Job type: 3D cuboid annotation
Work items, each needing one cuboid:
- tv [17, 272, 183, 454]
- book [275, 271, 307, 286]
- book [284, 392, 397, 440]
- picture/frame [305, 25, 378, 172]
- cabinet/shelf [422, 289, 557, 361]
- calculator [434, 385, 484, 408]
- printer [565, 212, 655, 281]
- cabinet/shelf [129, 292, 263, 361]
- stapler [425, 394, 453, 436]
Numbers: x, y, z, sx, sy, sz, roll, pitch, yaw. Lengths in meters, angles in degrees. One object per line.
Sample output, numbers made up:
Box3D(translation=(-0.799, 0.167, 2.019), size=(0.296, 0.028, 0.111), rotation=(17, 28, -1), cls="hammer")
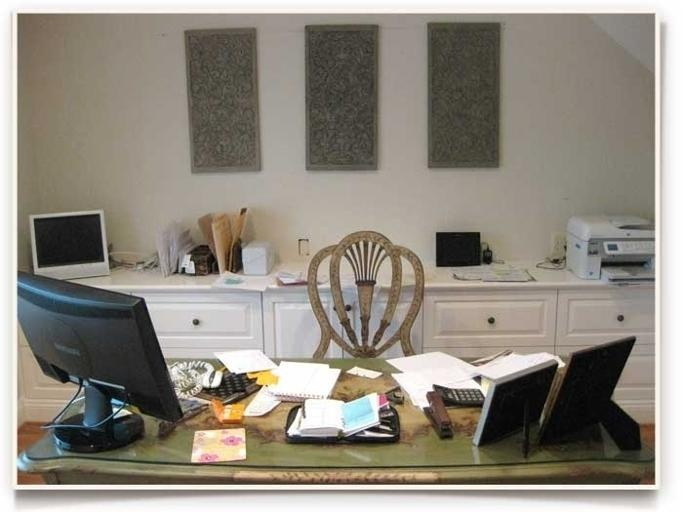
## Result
Box3D(translation=(-0.862, 0.362, 2.077), size=(0.609, 0.629, 0.216), rotation=(1, 10, 20), cls="tv")
Box3D(translation=(-0.297, 0.127, 3.420), size=(0.179, 0.072, 0.119), rotation=(-3, 8, -2), cls="book")
Box3D(translation=(0.015, 0.593, 2.139), size=(0.257, 0.079, 0.185), rotation=(2, 8, -2), cls="book")
Box3D(translation=(0.002, -0.992, 3.653), size=(0.467, 0.849, 0.026), rotation=(-3, 9, -1), cls="picture/frame")
Box3D(translation=(0.866, 0.436, 3.626), size=(0.871, 0.538, 0.472), rotation=(-1, 1, 0), cls="cabinet/shelf")
Box3D(translation=(0.469, 0.544, 2.280), size=(0.114, 0.027, 0.086), rotation=(-5, 11, -2), cls="calculator")
Box3D(translation=(1.577, -0.059, 3.477), size=(0.433, 0.305, 0.377), rotation=(1, 34, 5), cls="printer")
Box3D(translation=(-0.853, 0.406, 3.643), size=(0.793, 0.519, 0.431), rotation=(1, 15, -5), cls="cabinet/shelf")
Box3D(translation=(0.350, 0.584, 2.156), size=(0.051, 0.069, 0.172), rotation=(0, 12, -7), cls="stapler")
